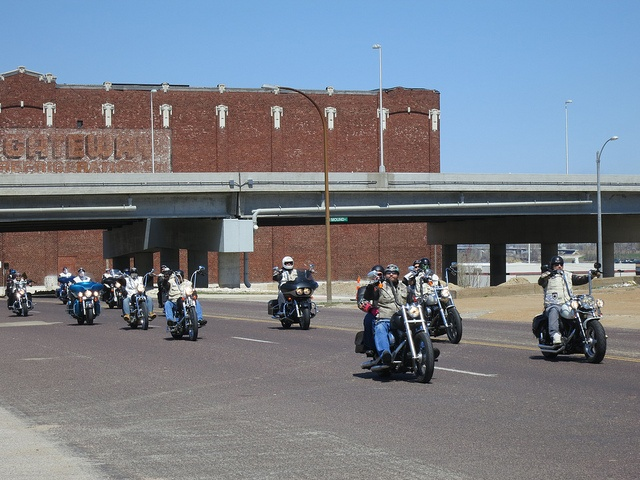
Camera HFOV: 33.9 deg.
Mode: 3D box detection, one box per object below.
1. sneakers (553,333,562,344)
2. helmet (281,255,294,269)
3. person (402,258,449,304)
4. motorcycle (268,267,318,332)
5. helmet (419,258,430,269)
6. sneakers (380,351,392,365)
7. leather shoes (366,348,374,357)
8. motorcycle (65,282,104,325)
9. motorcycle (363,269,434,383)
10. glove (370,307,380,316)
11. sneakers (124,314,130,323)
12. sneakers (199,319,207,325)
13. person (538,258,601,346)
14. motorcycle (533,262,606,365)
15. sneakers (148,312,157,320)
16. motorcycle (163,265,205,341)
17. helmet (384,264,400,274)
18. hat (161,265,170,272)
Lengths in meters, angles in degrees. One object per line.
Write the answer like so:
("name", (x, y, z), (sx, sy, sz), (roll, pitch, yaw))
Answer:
("sneakers", (5.344, 2.188, 23.555), (0.218, 0.269, 0.204), (-2, 0, 7))
("helmet", (-0.922, 0.661, 30.837), (0.338, 0.378, 0.468), (1, -6, -16))
("person", (2.756, 0.978, 26.309), (0.990, 0.890, 1.543), (-1, -4, -22))
("motorcycle", (-0.622, 1.774, 31.086), (1.079, 1.447, 2.202), (-1, -3, -22))
("helmet", (2.728, 0.585, 27.072), (0.298, 0.317, 0.302), (0, -3, -8))
("sneakers", (1.305, 2.320, 21.007), (0.177, 0.254, 0.244), (-1, 33, 0))
("leather shoes", (1.028, 2.305, 21.566), (0.168, 0.156, 0.123), (-3, -5, 19))
("motorcycle", (-7.535, 1.978, 33.458), (0.939, 1.335, 1.493), (-1, 0, -18))
("motorcycle", (1.591, 1.677, 21.158), (1.376, 2.363, 0.786), (-2, 0, 12))
("glove", (1.092, 1.416, 21.099), (0.120, 0.153, 0.154), (-1, 28, 10))
("sneakers", (-5.745, 2.318, 31.272), (0.189, 0.251, 0.092), (0, 4, 37))
("sneakers", (-3.082, 2.149, 27.794), (0.272, 0.089, 0.188), (-2, 1, -15))
("person", (5.793, 1.213, 23.833), (1.207, 1.369, 2.065), (1, -3, -24))
("motorcycle", (5.606, 1.559, 23.602), (0.741, 2.409, 1.657), (-1, 0, -39))
("sneakers", (-5.017, 2.214, 31.063), (0.144, 0.177, 0.420), (0, -5, -24))
("motorcycle", (-3.638, 1.710, 27.810), (1.129, 1.212, 1.915), (-1, -2, -21))
("helmet", (1.451, 0.583, 21.299), (0.214, 0.131, 0.277), (1, -3, 1))
("hat", (-4.433, 0.787, 29.770), (0.229, 0.122, 0.315), (1, -2, -5))
